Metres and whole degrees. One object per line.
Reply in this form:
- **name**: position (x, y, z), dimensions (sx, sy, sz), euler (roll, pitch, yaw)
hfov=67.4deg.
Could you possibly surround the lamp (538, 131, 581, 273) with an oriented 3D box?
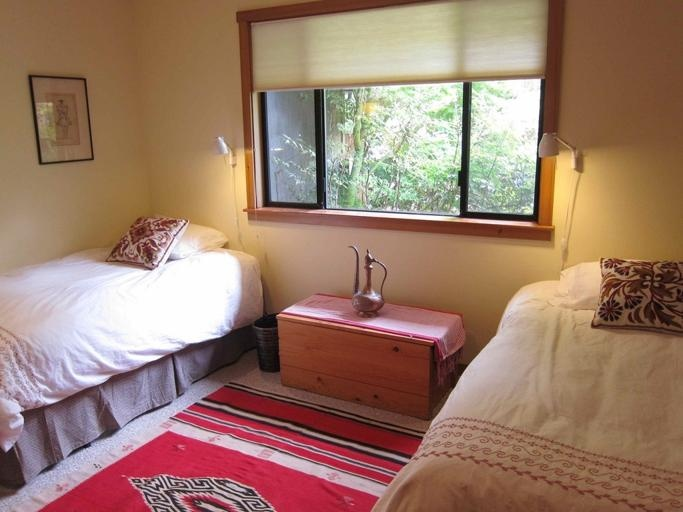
- **lamp**: position (1.332, -0.328, 3.223), dimensions (0.259, 0.816, 0.135), euler (8, -2, 13)

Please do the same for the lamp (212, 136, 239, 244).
- **lamp**: position (-0.944, -0.507, 4.172), dimensions (0.200, 0.920, 0.244), euler (5, 14, 18)
